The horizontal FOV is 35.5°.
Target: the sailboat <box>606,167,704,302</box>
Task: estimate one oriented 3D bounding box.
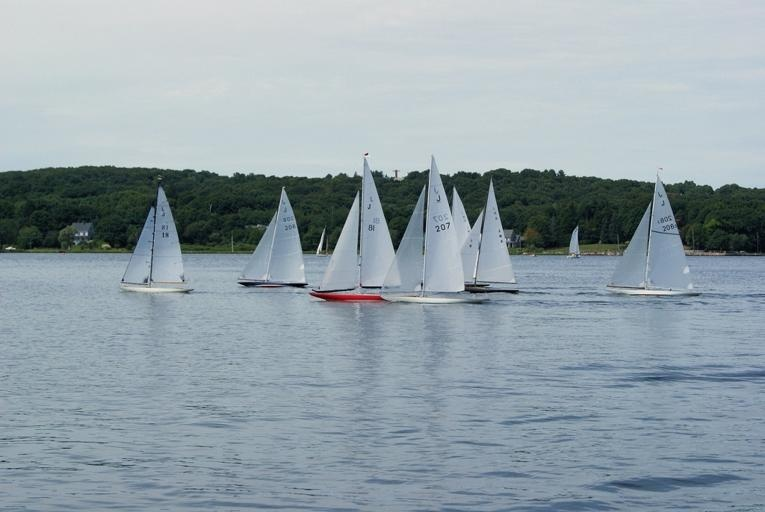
[{"bbox_3d":[21.367,-1.310,95.303,5.886,10.043,8.264,0,6,10],"label":"sailboat"}]
